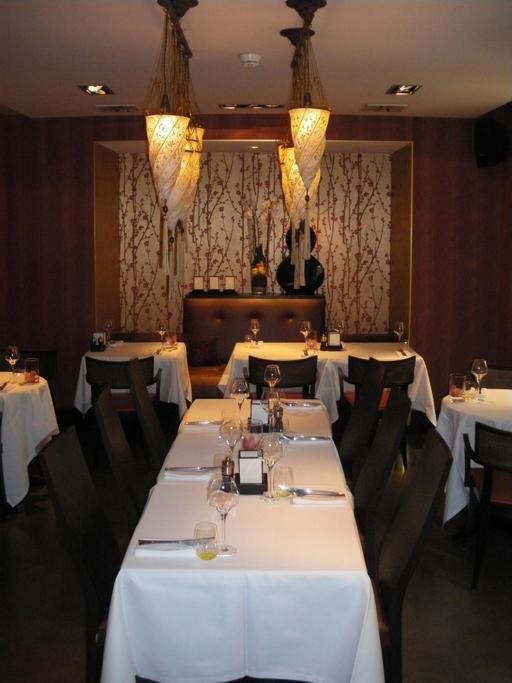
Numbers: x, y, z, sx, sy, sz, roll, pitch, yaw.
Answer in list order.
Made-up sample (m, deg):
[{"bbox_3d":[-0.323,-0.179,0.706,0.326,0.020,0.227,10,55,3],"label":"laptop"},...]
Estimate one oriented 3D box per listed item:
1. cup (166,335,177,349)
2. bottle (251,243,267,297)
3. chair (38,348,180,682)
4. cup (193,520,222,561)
[{"bbox_3d":[-0.843,0.014,5.214,0.100,0.153,0.116,0,7,1],"label":"cup"},{"bbox_3d":[0.038,-0.885,6.468,0.191,0.594,0.180,-2,8,0],"label":"bottle"},{"bbox_3d":[-0.649,0.690,2.270,0.611,1.414,0.712,2,13,-3],"label":"chair"},{"bbox_3d":[-0.110,0.469,1.191,0.057,0.101,0.065,-2,-1,-2],"label":"cup"}]
